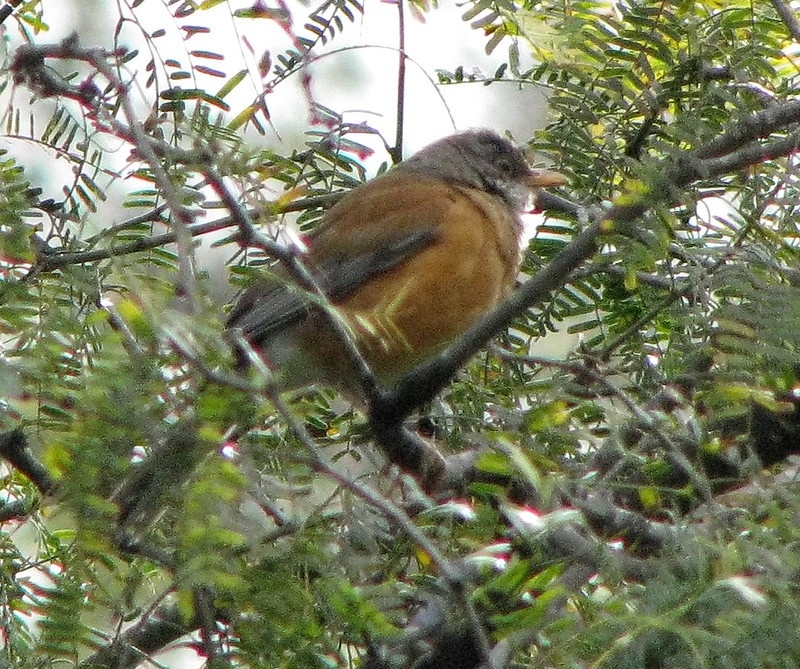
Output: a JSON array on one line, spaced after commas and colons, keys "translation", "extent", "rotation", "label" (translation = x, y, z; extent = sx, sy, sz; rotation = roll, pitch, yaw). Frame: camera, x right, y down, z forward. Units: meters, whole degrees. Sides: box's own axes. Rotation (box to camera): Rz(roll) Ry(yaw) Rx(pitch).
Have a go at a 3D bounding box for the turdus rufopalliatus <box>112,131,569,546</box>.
[{"translation": [-0.135, -0.120, 3.536], "extent": [1.457, 0.608, 0.443], "rotation": [-18, 1, -19], "label": "turdus rufopalliatus"}]
